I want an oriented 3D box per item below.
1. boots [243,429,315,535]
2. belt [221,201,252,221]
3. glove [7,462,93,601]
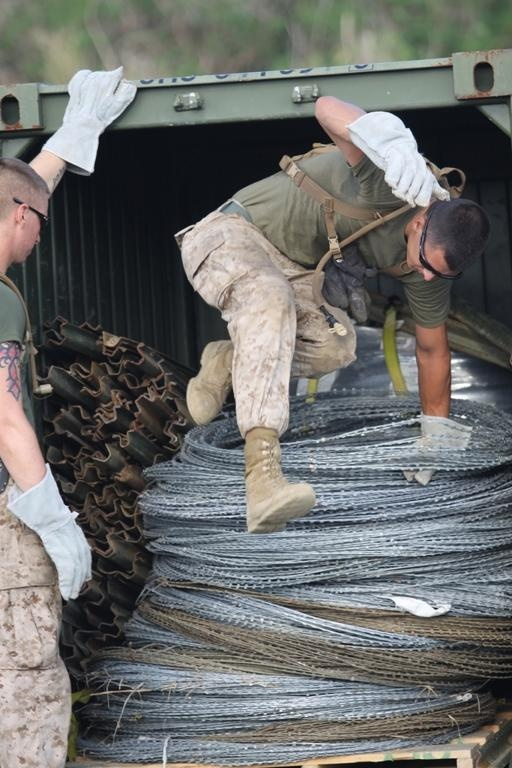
[{"bbox_3d":[0.057,0.362,4.313,0.246,0.366,0.313,-13,37,-2],"label":"boots"},{"bbox_3d":[-0.081,-0.761,5.324,0.148,0.063,0.097,25,18,6],"label":"belt"},{"bbox_3d":[-0.760,0.577,4.596,0.222,0.527,0.262,-24,41,-13],"label":"glove"}]
